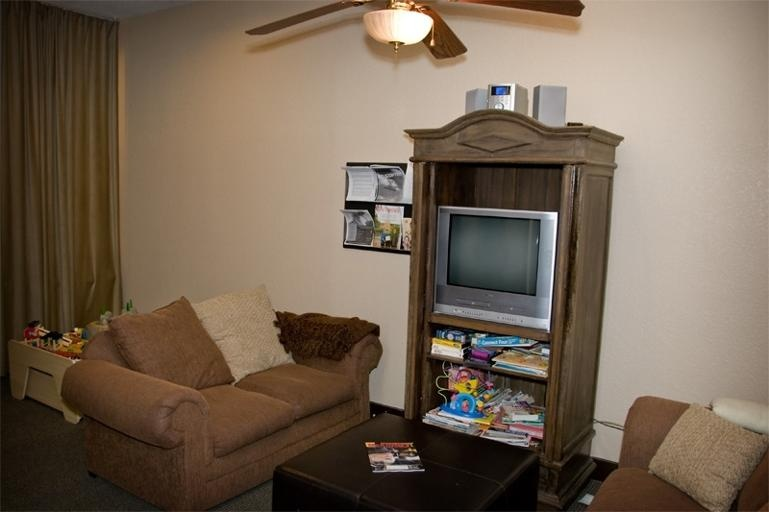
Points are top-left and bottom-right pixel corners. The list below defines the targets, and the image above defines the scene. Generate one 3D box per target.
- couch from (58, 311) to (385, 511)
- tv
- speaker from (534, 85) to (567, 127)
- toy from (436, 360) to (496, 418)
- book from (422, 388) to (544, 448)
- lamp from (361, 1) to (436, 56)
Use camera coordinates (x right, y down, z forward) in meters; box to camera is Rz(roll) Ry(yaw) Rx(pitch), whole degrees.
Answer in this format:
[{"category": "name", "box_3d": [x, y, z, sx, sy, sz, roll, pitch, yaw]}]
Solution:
[{"category": "couch", "box_3d": [-1.136, 0.642, 3.848, 1.279, 1.261, 2.218, 4, 8, 35]}, {"category": "tv", "box_3d": [0.869, 0.082, 4.049, 0.914, 0.781, 0.517, 2, -4, 29]}, {"category": "speaker", "box_3d": [1.081, -0.983, 3.672, 0.207, 0.279, 0.188, 4, 8, 20]}, {"category": "toy", "box_3d": [0.579, 0.958, 4.033, 0.366, 0.336, 0.300, 0, 1, 35]}, {"category": "book", "box_3d": [0.776, 1.138, 3.918, 0.480, 0.113, 0.465, 7, 13, 31]}, {"category": "lamp", "box_3d": [0.087, -1.239, 3.066, 0.354, 0.231, 0.329, 2, 8, 6]}]
